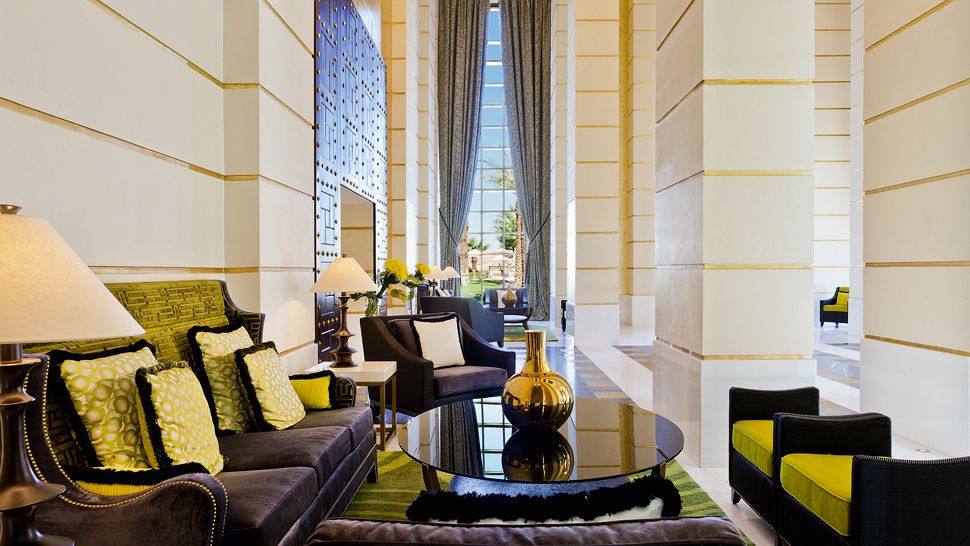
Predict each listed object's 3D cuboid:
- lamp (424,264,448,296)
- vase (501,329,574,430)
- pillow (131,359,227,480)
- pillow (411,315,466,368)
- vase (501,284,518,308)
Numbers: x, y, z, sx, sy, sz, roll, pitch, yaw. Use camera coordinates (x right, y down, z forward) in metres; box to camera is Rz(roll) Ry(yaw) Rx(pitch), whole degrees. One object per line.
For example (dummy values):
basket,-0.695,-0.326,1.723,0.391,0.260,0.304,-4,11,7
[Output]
lamp,-0.937,0.165,11.261,0.346,0.553,1.162,-6,3,-6
vase,0.368,0.768,4.266,0.528,0.655,0.514,-1,3,2
pillow,-1.896,0.927,3.742,0.338,0.630,0.662,-5,-8,8
pillow,-0.440,0.702,6.184,0.527,0.481,0.154,-2,-15,-36
vase,0.592,0.532,12.753,0.359,0.458,0.355,0,0,9
